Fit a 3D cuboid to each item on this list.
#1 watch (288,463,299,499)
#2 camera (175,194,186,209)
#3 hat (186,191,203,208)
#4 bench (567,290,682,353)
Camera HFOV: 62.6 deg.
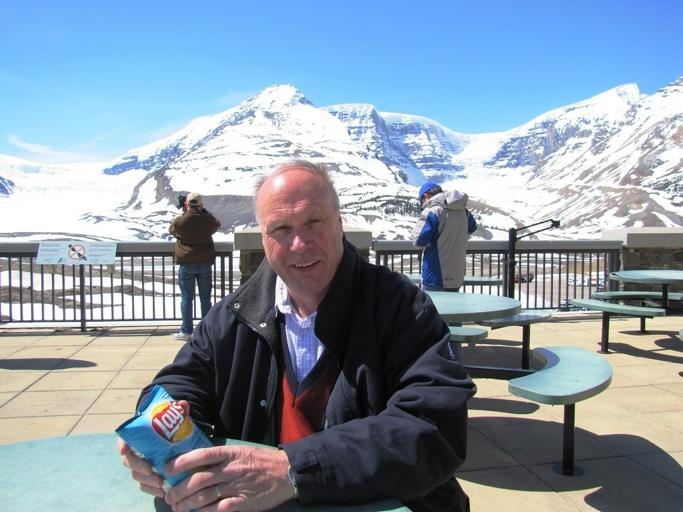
[{"bbox_3d":[-0.183,0.805,2.063,0.047,0.092,0.094,-6,-13,-13],"label":"watch"},{"bbox_3d":[-2.427,-0.826,8.526,0.240,0.180,0.250,-1,-7,-12],"label":"camera"},{"bbox_3d":[-2.205,-0.839,8.418,0.265,0.147,0.318,0,9,-5],"label":"hat"},{"bbox_3d":[3.685,0.635,7.495,1.452,0.363,1.012,-3,4,-42],"label":"bench"}]
